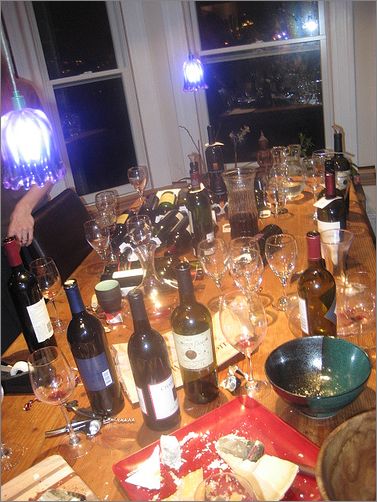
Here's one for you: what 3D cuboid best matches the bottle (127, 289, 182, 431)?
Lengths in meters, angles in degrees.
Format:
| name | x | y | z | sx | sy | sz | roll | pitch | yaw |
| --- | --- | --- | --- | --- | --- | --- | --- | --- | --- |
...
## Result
| name | x | y | z | sx | sy | sz | roll | pitch | yaw |
| --- | --- | --- | --- | --- | --- | --- | --- | --- | --- |
| bottle | -0.072 | 0.213 | 0.685 | 0.077 | 0.320 | 0.079 | -10 | 18 | 3 |

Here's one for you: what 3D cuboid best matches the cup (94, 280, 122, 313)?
| name | x | y | z | sx | sy | sz | roll | pitch | yaw |
| --- | --- | --- | --- | --- | --- | --- | --- | --- | --- |
| cup | -0.247 | 0.144 | 1.199 | 0.089 | 0.102 | 0.090 | 0 | 19 | 0 |

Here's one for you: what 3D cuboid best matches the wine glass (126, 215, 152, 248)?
| name | x | y | z | sx | sy | sz | roll | pitch | yaw |
| --- | --- | --- | --- | --- | --- | --- | --- | --- | --- |
| wine glass | -0.189 | -0.076 | 1.403 | 0.097 | 0.144 | 0.087 | -12 | 30 | -4 |

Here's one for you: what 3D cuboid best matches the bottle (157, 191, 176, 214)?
| name | x | y | z | sx | sy | sz | roll | pitch | yaw |
| --- | --- | --- | --- | --- | --- | --- | --- | --- | --- |
| bottle | -0.108 | -0.245 | 1.842 | 0.081 | 0.080 | 0.131 | -25 | 22 | 10 |

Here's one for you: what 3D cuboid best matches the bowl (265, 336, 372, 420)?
| name | x | y | z | sx | sy | sz | roll | pitch | yaw |
| --- | --- | --- | --- | --- | --- | --- | --- | --- | --- |
| bowl | 0.248 | 0.237 | 0.689 | 0.163 | 0.078 | 0.161 | -13 | 27 | 7 |
